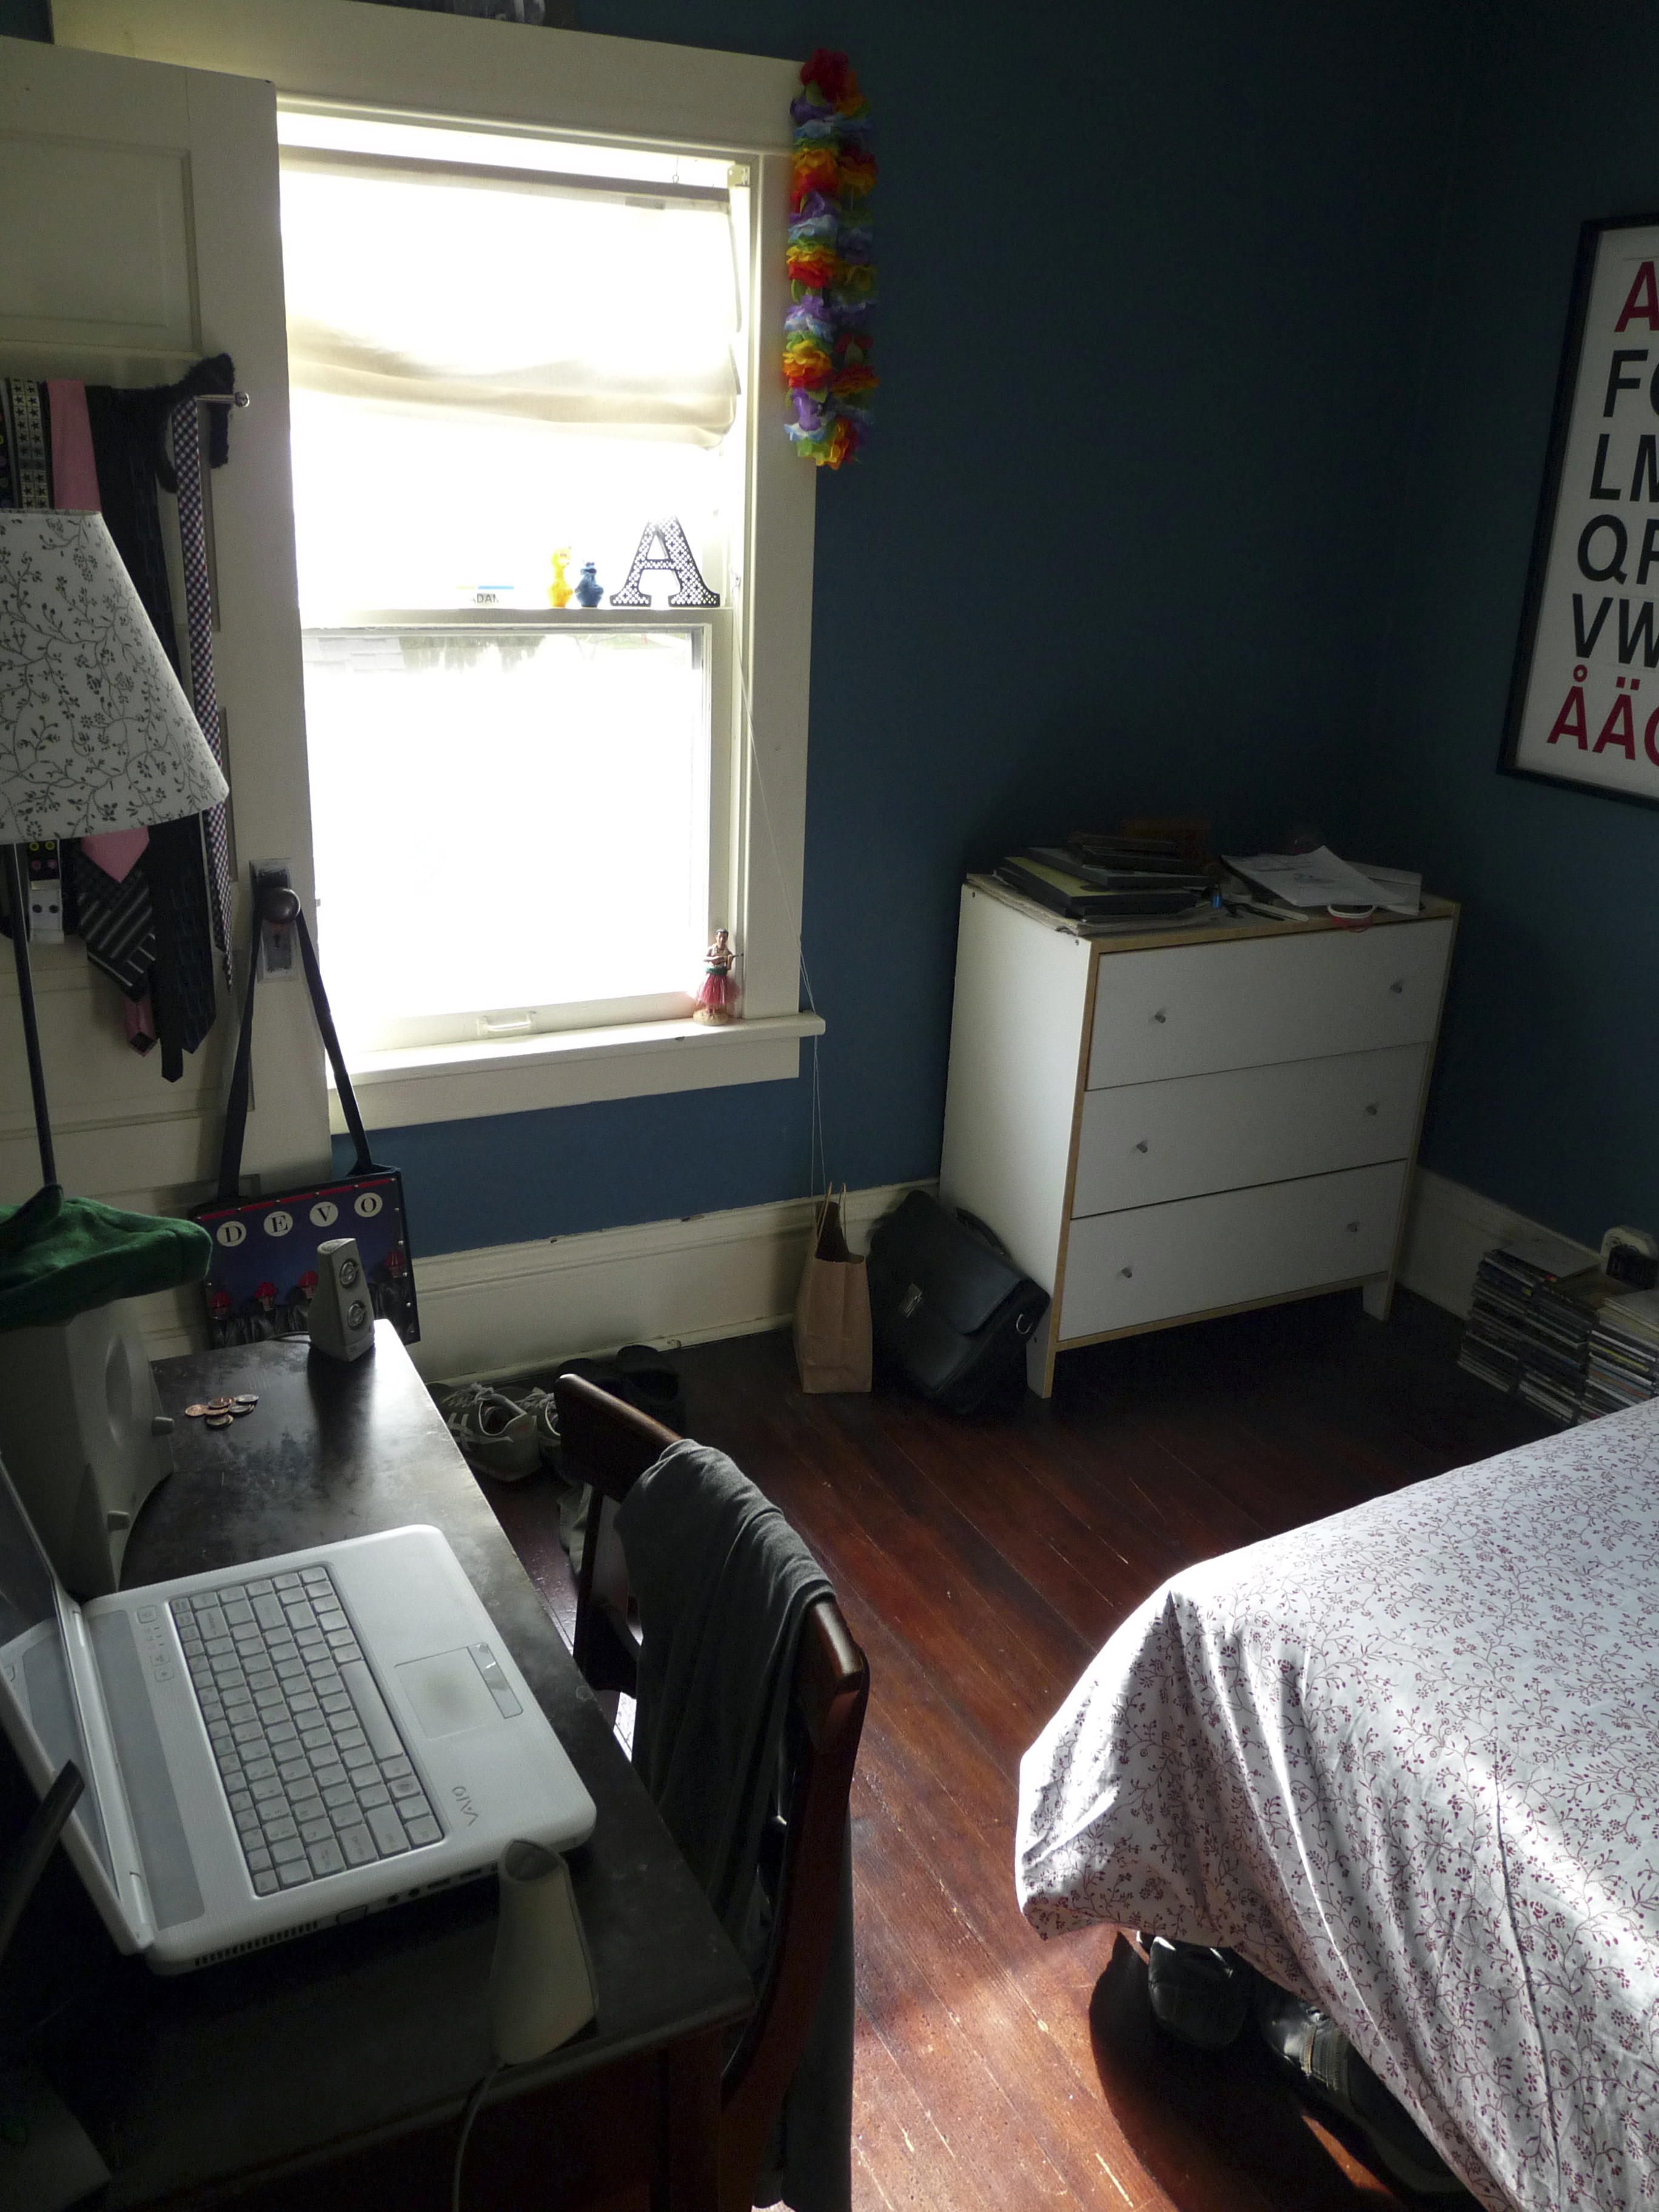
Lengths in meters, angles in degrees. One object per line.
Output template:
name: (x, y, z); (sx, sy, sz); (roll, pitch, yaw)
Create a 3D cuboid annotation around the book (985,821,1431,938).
book: (0.719, -0.426, 3.065); (0.821, 0.223, 0.389); (6, 12, -24)

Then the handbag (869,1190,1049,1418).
handbag: (0.253, 0.389, 3.030); (0.110, 0.242, 0.304); (11, 14, -27)

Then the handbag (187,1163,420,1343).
handbag: (-0.755, 0.199, 2.236); (0.194, 0.225, 0.067); (-11, 24, -30)

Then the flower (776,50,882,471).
flower: (-0.003, -1.336, 2.555); (0.152, 0.563, 0.169); (10, 11, 16)

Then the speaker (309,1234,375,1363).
speaker: (-0.503, 0.198, 1.636); (0.059, 0.148, 0.049); (-22, 40, -30)

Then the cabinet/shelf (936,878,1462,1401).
cabinet/shelf: (0.663, 0.046, 3.030); (0.669, 0.757, 0.414); (-9, 29, -23)
